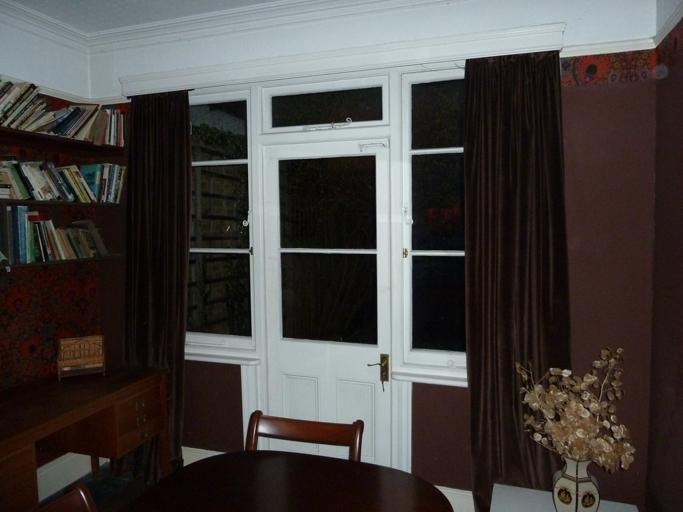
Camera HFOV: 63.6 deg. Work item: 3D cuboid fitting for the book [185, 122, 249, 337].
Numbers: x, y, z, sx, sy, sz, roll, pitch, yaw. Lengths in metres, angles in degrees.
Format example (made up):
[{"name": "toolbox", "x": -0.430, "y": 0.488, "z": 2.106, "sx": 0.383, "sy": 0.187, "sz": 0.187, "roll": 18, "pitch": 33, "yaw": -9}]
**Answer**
[{"name": "book", "x": -0.995, "y": -0.102, "z": 4.376, "sx": 0.549, "sy": 1.450, "sz": 0.133, "roll": 1, "pitch": 1, "yaw": 23}]
